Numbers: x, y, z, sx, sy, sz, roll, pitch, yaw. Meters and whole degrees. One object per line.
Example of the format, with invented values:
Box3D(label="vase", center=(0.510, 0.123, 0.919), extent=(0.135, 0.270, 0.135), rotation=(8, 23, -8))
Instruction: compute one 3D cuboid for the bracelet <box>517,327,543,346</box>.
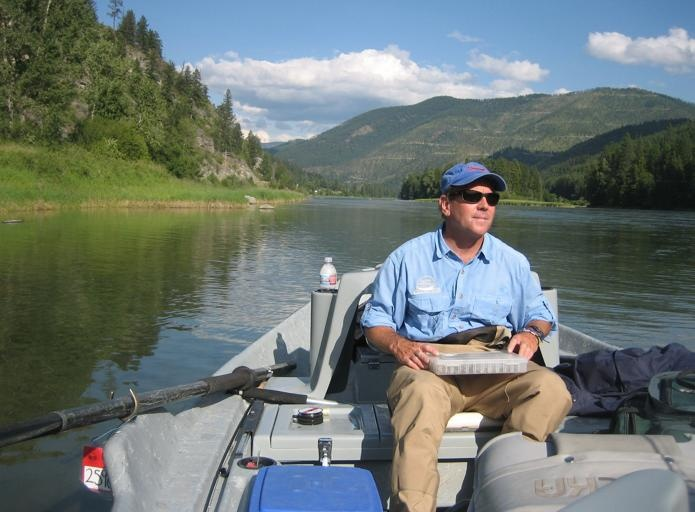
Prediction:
Box3D(label="bracelet", center=(1.190, 0.492, 4.053), extent=(0.088, 0.132, 0.133), rotation=(-44, 33, -25))

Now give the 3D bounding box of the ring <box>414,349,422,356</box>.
Box3D(label="ring", center=(0.425, 0.572, 3.776), extent=(0.043, 0.030, 0.023), rotation=(0, -4, -42))

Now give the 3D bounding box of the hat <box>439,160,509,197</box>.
Box3D(label="hat", center=(0.829, -0.521, 4.172), extent=(0.259, 0.173, 0.359), rotation=(4, -4, -35))
